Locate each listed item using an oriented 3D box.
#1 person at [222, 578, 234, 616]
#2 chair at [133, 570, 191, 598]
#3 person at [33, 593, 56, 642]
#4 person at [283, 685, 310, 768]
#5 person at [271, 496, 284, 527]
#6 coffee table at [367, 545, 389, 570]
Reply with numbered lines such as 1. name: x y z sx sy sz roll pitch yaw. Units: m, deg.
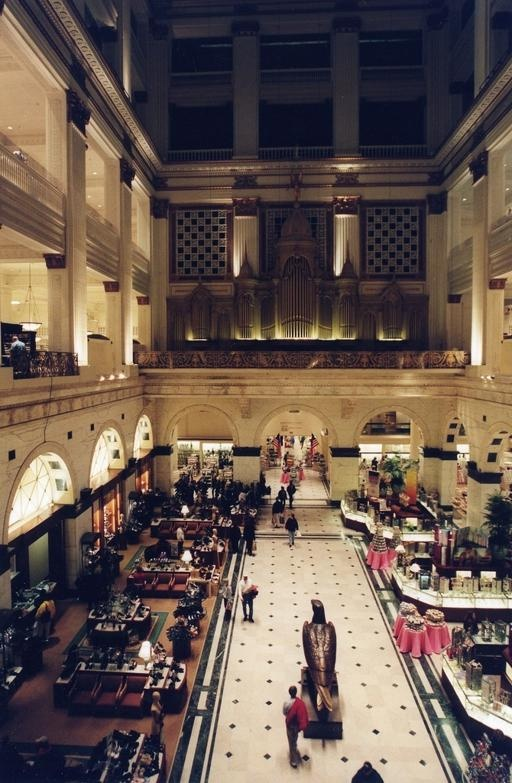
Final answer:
1. person: -0.567 3.989 11.075 0.203 0.641 0.728 2 4 -3
2. chair: -2.027 3.953 11.596 1.184 0.445 0.521 4 4 -2
3. person: -3.762 3.952 9.817 0.321 0.582 0.940 1 5 -21
4. person: 0.508 4.116 7.151 0.350 1.012 0.511 3 4 6
5. person: 0.615 3.547 16.683 0.314 0.745 0.711 3 4 2
6. coffee table: 2.938 3.940 13.449 0.355 0.413 0.481 2 -1 -10
